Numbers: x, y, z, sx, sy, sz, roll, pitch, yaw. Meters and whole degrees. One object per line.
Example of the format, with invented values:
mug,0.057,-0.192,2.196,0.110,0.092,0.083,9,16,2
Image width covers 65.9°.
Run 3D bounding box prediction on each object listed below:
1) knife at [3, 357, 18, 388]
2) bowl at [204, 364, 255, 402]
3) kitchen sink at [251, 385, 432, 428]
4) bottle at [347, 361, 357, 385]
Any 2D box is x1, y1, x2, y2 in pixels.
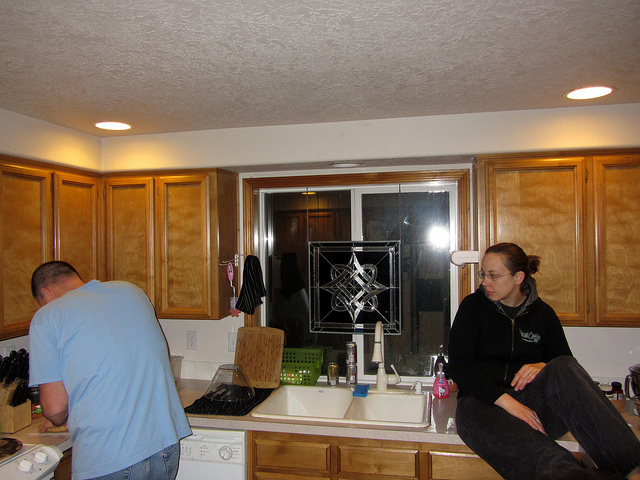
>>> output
knife,-1.846,0.791,2.923,0.052,0.191,0.040,-30,-52,14
bowl,-0.614,0.947,3.370,0.341,0.170,0.334,1,0,0
kitchen sink,0.156,1.100,3.134,1.083,0.236,0.549,-3,-1,11
bottle,0.225,0.937,3.475,0.078,0.141,0.038,-2,-1,-28
